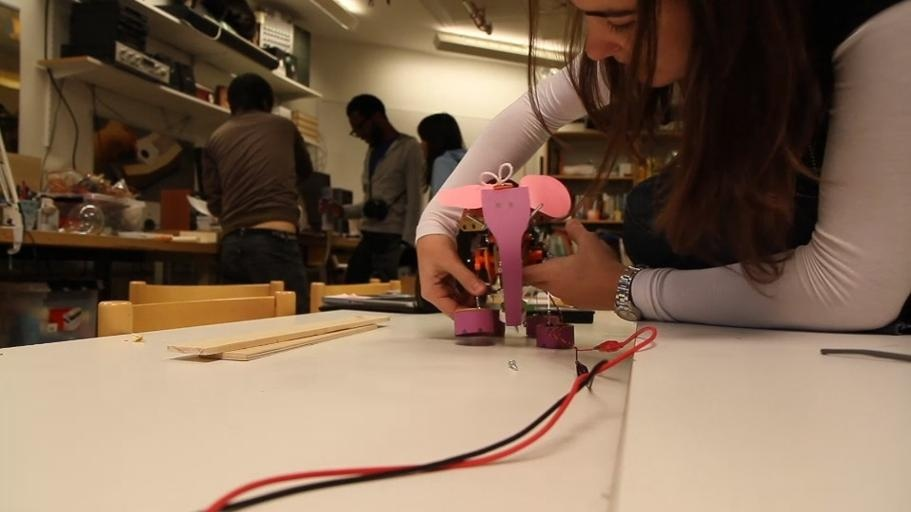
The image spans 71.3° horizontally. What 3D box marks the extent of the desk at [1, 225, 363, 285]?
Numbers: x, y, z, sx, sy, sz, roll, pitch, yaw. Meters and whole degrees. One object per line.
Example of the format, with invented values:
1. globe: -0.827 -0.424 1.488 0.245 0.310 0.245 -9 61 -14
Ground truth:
1. desk: -1.168 -0.001 2.987 0.256 0.268 1.834 -2 -1 29

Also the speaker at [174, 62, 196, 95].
1. speaker: -1.491 -0.978 3.501 0.032 0.118 0.152 -2 -1 20

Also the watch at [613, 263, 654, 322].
1. watch: 0.335 0.071 1.243 0.060 0.098 0.097 -3 38 14
